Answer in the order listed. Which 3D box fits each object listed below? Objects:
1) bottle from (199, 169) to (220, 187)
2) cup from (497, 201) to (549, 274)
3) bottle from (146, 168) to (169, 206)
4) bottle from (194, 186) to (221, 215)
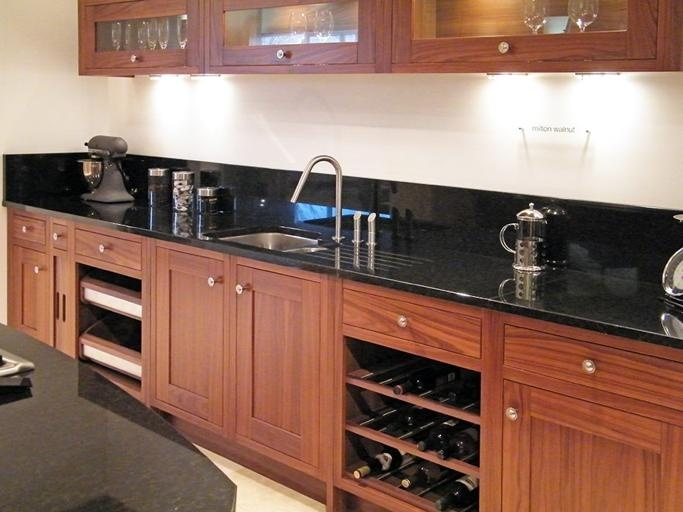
[{"bbox_3d":[-0.810,-0.475,3.530,0.146,0.101,0.131,-2,7,-20],"label":"bottle"},{"bbox_3d":[0.730,-0.078,2.308,0.182,0.245,0.284,4,12,13],"label":"cup"},{"bbox_3d":[-1.122,-0.426,3.557,0.125,0.230,0.171,0,13,-6],"label":"bottle"},{"bbox_3d":[-0.775,-0.319,3.313,0.183,0.141,0.159,-2,4,-22],"label":"bottle"}]
